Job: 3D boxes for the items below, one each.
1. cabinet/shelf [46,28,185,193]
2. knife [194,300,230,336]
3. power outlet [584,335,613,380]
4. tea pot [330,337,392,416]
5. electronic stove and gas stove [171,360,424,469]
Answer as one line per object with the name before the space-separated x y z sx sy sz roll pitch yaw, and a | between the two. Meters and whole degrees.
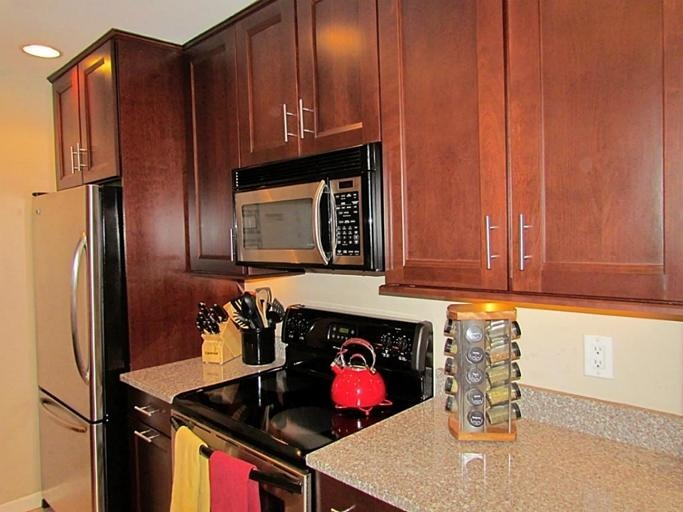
cabinet/shelf | -1.341 -0.734 3.082 0.850 0.735 0.367 -2 0 44
knife | -0.656 0.314 2.752 0.161 0.173 0.066 -6 12 -13
power outlet | 0.908 0.351 1.898 0.097 0.146 0.035 4 14 29
tea pot | 0.055 0.485 2.201 0.242 0.248 0.268 0 -4 -41
electronic stove and gas stove | -0.219 0.613 2.221 0.512 0.121 0.461 2 3 41
